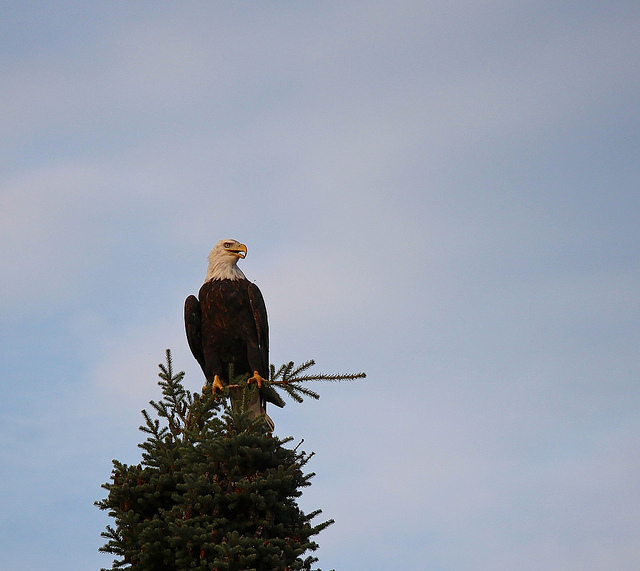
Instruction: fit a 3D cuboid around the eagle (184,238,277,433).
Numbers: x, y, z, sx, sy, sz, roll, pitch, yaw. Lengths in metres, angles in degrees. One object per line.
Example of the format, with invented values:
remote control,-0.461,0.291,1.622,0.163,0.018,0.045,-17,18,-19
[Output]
eagle,-0.940,0.716,15.628,0.776,1.982,1.496,-6,-43,-3
